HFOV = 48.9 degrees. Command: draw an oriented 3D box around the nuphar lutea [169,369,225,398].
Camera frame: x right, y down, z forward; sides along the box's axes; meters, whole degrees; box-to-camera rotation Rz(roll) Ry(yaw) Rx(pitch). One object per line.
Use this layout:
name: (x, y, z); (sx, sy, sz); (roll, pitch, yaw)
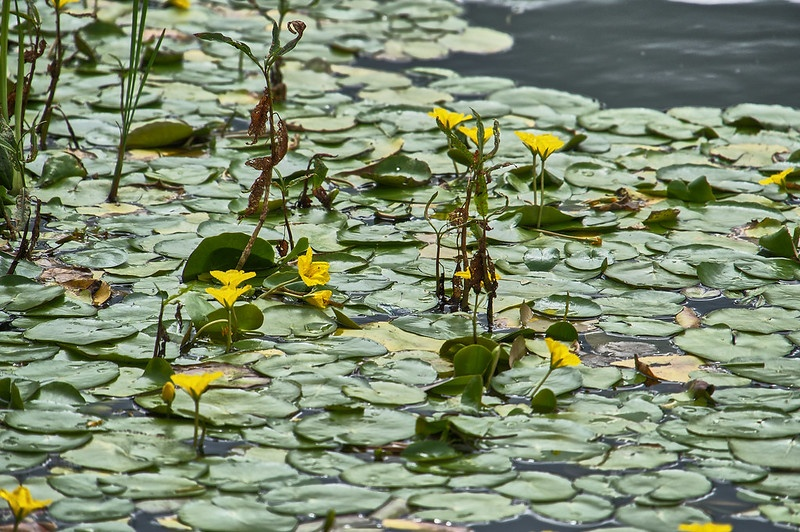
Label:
nuphar lutea: (-0.435, 0.259, 1.900); (0.125, 0.030, 0.090); (0, 8, -9)

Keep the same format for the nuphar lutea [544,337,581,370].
nuphar lutea: (0.366, 0.199, 2.001); (0.079, 0.088, 0.048); (3, 28, 3)

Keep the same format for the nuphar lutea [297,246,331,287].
nuphar lutea: (-0.222, -0.001, 2.251); (0.064, 0.105, 0.066); (-16, 33, -31)

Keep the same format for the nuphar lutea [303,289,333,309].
nuphar lutea: (-0.219, 0.082, 2.332); (0.069, 0.065, 0.085); (0, 22, -5)

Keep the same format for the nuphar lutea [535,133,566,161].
nuphar lutea: (0.444, -0.362, 2.631); (0.070, 0.082, 0.141); (7, 21, 10)

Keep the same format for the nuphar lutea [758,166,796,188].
nuphar lutea: (1.261, -0.296, 2.943); (0.149, 0.038, 0.110); (-12, -5, -2)

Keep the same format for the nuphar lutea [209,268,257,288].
nuphar lutea: (-0.406, 0.026, 2.150); (0.091, 0.022, 0.089); (4, 4, 40)
